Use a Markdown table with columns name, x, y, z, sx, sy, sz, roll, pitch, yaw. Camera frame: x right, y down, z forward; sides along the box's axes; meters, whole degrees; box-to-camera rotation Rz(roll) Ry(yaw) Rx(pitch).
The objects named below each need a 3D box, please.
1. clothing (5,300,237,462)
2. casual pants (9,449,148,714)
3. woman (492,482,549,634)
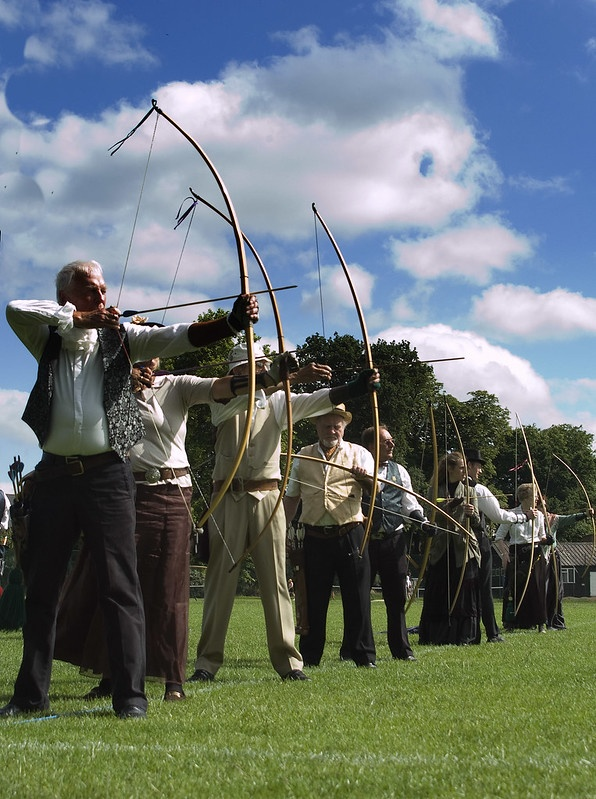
| name | x | y | z | sx | sy | sz | roll | pitch | yaw |
| --- | --- | --- | --- | --- | --- | --- | --- | --- | --- |
| clothing | -0.844 | -0.081 | 3.844 | 0.755 | 0.637 | 0.235 | 2 | -6 | -9 |
| casual pants | -0.950 | 0.764 | 3.872 | 0.558 | 1.097 | 0.254 | -1 | -2 | -8 |
| woman | 2.552 | 1.805 | 10.398 | 0.642 | 1.641 | 0.471 | 1 | -1 | 23 |
